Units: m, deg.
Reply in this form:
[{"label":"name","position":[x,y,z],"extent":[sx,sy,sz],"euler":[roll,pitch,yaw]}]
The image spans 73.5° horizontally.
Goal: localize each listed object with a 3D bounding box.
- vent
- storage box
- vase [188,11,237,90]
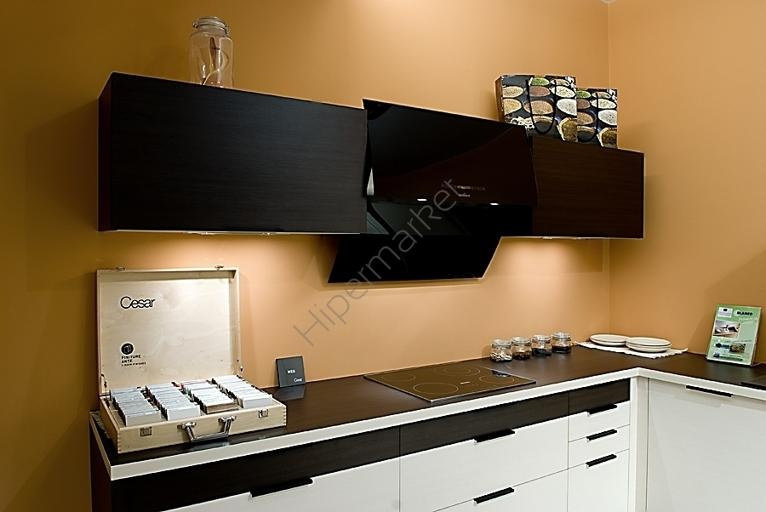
[{"label":"vent","position":[0.249,-0.320,2.961],"extent":[1.128,0.895,0.608],"euler":[1,-2,-21]},{"label":"storage box","position":[-0.884,0.434,2.349],"extent":[0.711,0.686,0.604],"euler":[-2,6,-42]},{"label":"vase","position":[-0.796,-0.954,2.376],"extent":[0.189,0.318,0.098],"euler":[-3,9,-20]}]
